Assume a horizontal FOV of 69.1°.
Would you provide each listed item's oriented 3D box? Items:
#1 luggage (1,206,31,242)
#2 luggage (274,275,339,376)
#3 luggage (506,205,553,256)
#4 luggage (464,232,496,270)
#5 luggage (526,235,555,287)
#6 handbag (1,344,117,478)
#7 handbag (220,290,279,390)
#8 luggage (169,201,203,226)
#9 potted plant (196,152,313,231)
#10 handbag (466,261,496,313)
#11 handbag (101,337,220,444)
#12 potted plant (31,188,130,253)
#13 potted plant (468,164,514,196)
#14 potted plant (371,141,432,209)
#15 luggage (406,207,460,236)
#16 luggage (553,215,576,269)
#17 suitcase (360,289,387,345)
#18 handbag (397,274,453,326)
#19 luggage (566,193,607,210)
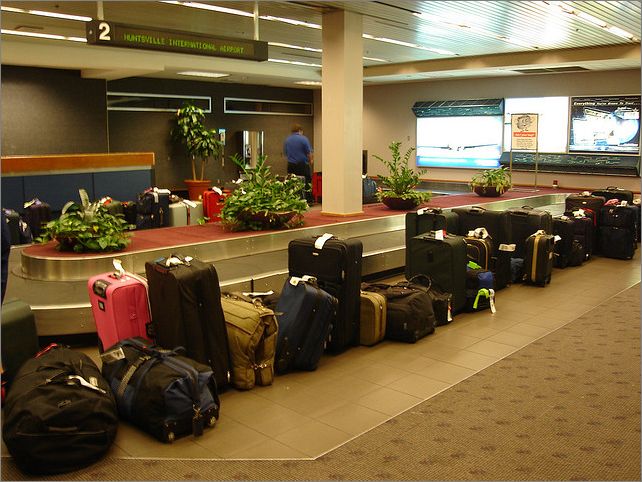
[{"bbox_3d":[-3.755,-0.153,5.832,0.212,0.422,0.577,-8,14,-30],"label":"luggage"},{"bbox_3d":[-0.112,0.672,3.740,0.494,0.735,0.323,-1,13,-2],"label":"luggage"},{"bbox_3d":[2.768,-0.113,6.206,0.532,0.764,0.625,-7,11,-27],"label":"luggage"},{"bbox_3d":[1.833,0.131,5.396,0.260,0.365,0.435,-12,14,-34],"label":"luggage"},{"bbox_3d":[2.829,0.235,6.072,0.317,0.671,0.377,8,15,31],"label":"luggage"},{"bbox_3d":[-1.497,0.945,2.742,0.447,0.295,0.817,-4,10,-22],"label":"handbag"},{"bbox_3d":[-0.528,0.761,3.434,0.297,0.444,0.704,-8,13,-31],"label":"handbag"},{"bbox_3d":[-2.029,-0.406,6.965,0.203,0.394,0.478,6,9,35],"label":"luggage"},{"bbox_3d":[-0.661,-0.567,5.481,1.006,0.842,0.615,-10,16,-40],"label":"potted plant"},{"bbox_3d":[1.777,0.509,5.159,0.329,0.492,0.425,4,13,16],"label":"handbag"},{"bbox_3d":[-1.051,0.893,3.002,0.774,0.353,0.461,15,18,43],"label":"handbag"},{"bbox_3d":[-2.223,-0.208,4.372,0.790,0.321,0.635,-5,22,-26],"label":"potted plant"},{"bbox_3d":[3.125,-1.069,8.602,0.661,0.494,0.533,6,14,25],"label":"potted plant"},{"bbox_3d":[1.285,-0.966,7.147,0.914,0.789,0.803,0,25,23],"label":"potted plant"},{"bbox_3d":[1.419,-0.251,5.818,0.409,0.515,0.591,-11,13,-43],"label":"luggage"},{"bbox_3d":[3.627,0.024,7.016,0.305,0.730,0.412,6,15,26],"label":"luggage"},{"bbox_3d":[0.483,0.717,4.263,0.242,0.448,0.228,1,13,6],"label":"suitcase"},{"bbox_3d":[1.028,0.586,4.531,0.584,0.422,0.317,-2,1,44],"label":"handbag"},{"bbox_3d":[4.306,-0.632,7.631,0.529,0.260,0.375,6,3,34],"label":"luggage"}]
